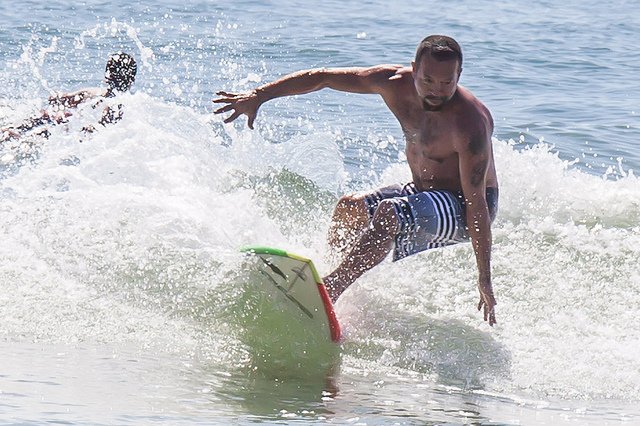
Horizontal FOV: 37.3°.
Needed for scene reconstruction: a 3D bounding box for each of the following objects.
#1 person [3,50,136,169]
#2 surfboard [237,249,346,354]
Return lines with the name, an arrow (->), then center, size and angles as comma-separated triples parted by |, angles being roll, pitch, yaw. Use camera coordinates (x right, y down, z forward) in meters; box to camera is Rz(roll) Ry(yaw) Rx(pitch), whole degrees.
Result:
person -> -2.525, -0.957, 9.662 | 1.019, 0.440, 1.398 | 44, 56, 13
surfboard -> -0.259, 0.754, 7.946 | 0.887, 0.763, 0.661 | -3, 38, 2
